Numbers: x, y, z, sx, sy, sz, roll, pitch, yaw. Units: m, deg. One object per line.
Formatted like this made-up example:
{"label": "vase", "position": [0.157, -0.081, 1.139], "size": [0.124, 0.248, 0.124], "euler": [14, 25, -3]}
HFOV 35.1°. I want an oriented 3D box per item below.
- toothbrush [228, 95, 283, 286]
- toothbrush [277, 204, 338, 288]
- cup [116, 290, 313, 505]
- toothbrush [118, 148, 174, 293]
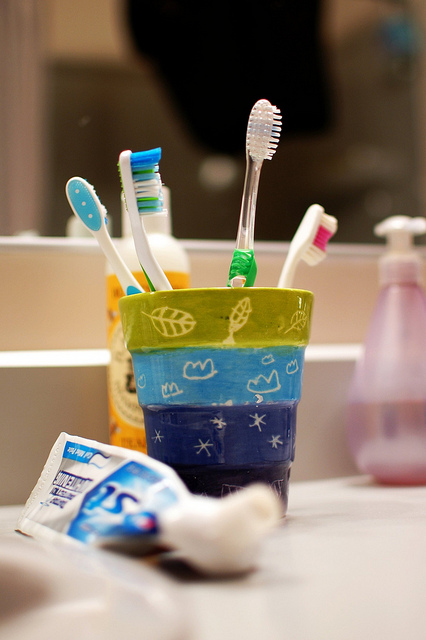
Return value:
{"label": "toothbrush", "position": [0.031, -0.095, 0.516], "size": [0.036, 0.193, 0.042], "euler": [9, 26, 14]}
{"label": "toothbrush", "position": [0.057, -0.039, 0.408], "size": [0.021, 0.043, 0.083], "euler": [8, 33, 16]}
{"label": "cup", "position": [0.002, 0.047, 0.397], "size": [0.095, 0.116, 0.098], "euler": [-1, -9, 0]}
{"label": "toothbrush", "position": [-0.034, -0.049, 0.340], "size": [0.020, 0.065, 0.040], "euler": [-5, 31, -5]}
